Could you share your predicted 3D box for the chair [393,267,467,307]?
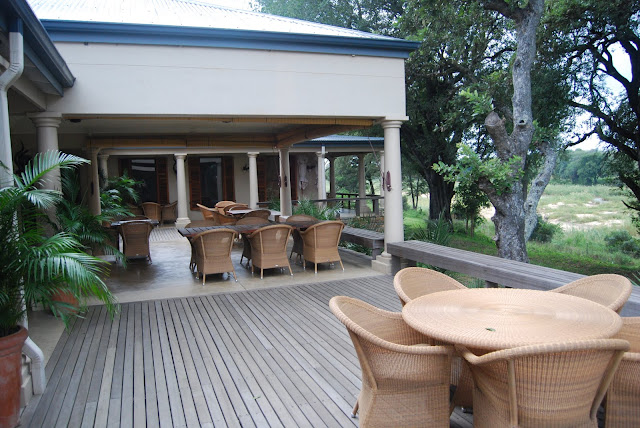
[{"bbox_3d":[0.977,0.687,3.901,0.428,0.379,0.419,-5,12,28],"label":"chair"}]
